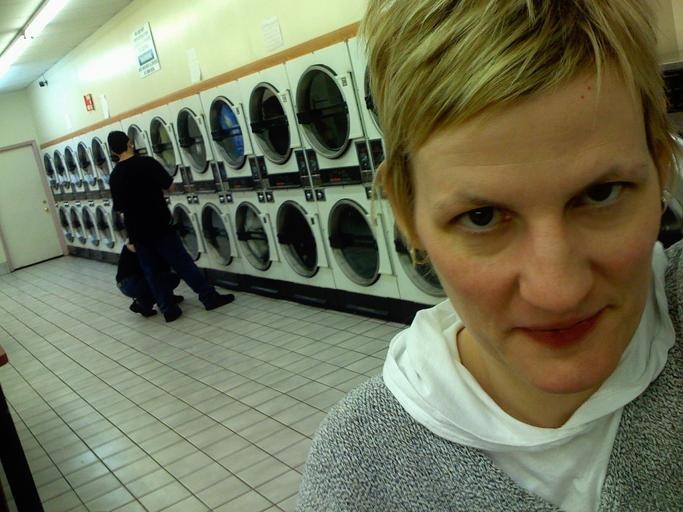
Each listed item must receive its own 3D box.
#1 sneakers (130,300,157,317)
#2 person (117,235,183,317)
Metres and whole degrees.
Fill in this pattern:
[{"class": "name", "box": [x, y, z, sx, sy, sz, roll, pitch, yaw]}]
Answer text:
[{"class": "sneakers", "box": [-2.150, 0.581, 5.582, 0.331, 0.142, 0.136, 10, 28, 9]}, {"class": "person", "box": [-2.087, 0.076, 5.591, 0.737, 1.127, 0.429, -5, 5, -40]}]
